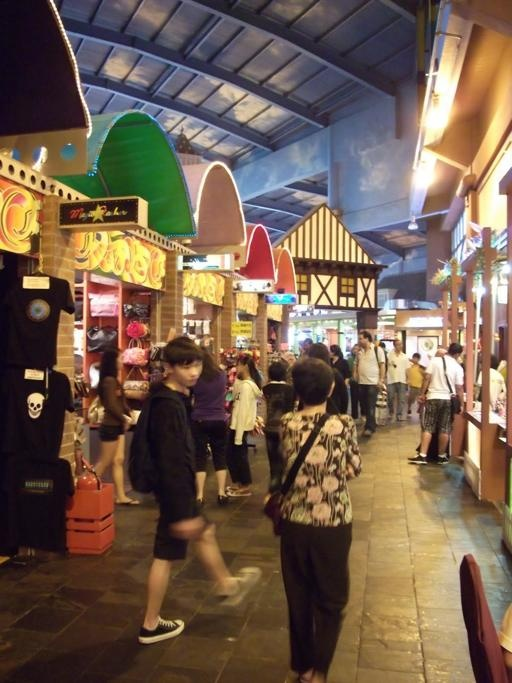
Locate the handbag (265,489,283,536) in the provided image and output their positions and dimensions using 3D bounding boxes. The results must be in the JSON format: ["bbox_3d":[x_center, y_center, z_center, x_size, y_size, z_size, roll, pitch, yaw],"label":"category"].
[{"bbox_3d":[0.049,0.641,1.976,0.050,0.153,0.106,-5,-29,21],"label":"handbag"}]

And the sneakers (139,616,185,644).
[{"bbox_3d":[-0.444,1.355,2.516,0.218,0.098,0.080,-2,2,-43],"label":"sneakers"}]

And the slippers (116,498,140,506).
[{"bbox_3d":[-1.179,1.510,4.932,0.167,0.040,0.080,-1,2,2],"label":"slippers"}]

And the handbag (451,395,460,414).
[{"bbox_3d":[2.451,0.786,6.554,0.107,0.241,0.108,3,0,25],"label":"handbag"}]

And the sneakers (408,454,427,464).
[{"bbox_3d":[2.055,1.544,6.895,0.265,0.137,0.099,2,-7,38],"label":"sneakers"}]

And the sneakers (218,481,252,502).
[{"bbox_3d":[-0.218,1.543,5.347,0.348,0.147,0.131,8,-13,-14],"label":"sneakers"}]

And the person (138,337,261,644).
[{"bbox_3d":[-0.300,0.693,2.363,0.490,1.345,0.353,3,0,-6],"label":"person"}]

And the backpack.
[{"bbox_3d":[-0.436,0.422,2.255,0.210,0.451,0.134,3,0,-21],"label":"backpack"}]
